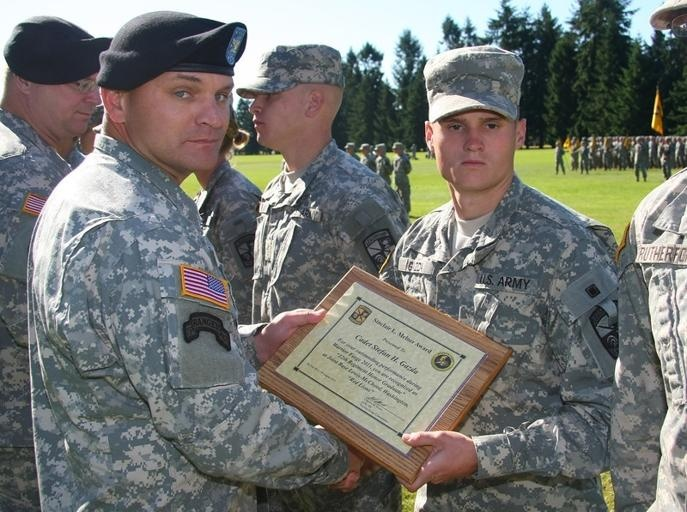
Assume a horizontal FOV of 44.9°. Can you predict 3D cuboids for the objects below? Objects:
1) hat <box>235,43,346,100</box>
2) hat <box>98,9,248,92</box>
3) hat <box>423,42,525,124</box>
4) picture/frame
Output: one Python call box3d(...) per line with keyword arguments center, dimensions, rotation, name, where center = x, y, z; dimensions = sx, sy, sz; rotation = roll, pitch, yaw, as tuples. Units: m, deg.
box3d(center=(-0.262, -1.230, 5.591), dimensions=(0.839, 0.346, 0.556), rotation=(0, 5, 7), name="hat")
box3d(center=(-0.777, -0.936, 3.795), dimensions=(0.710, 0.319, 0.541), rotation=(2, 13, 18), name="hat")
box3d(center=(0.667, -0.887, 4.342), dimensions=(0.523, 0.323, 0.625), rotation=(-2, 10, 15), name="hat")
box3d(center=(0.185, 0.592, 4.125), dimensions=(1.092, 0.211, 1.188), rotation=(38, 47, 23), name="picture/frame")
